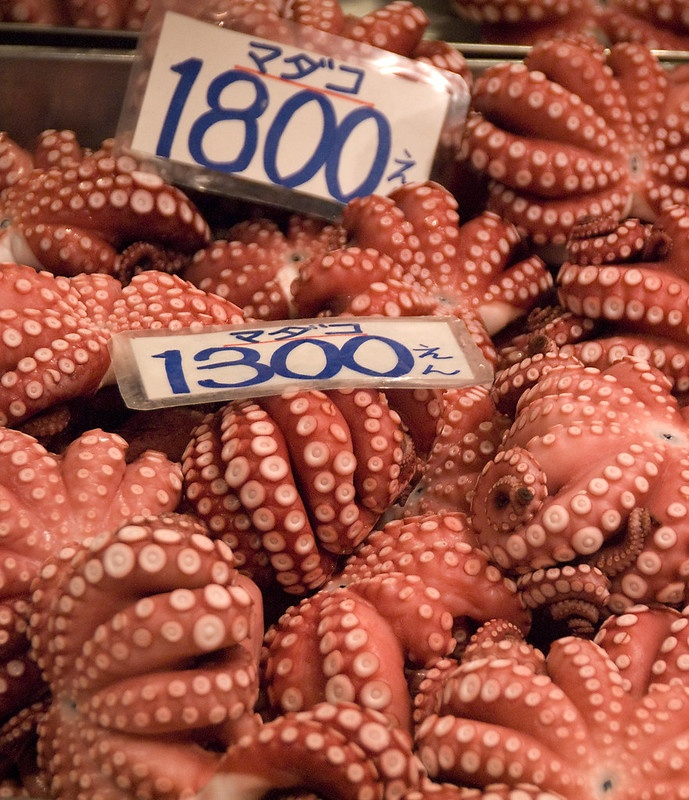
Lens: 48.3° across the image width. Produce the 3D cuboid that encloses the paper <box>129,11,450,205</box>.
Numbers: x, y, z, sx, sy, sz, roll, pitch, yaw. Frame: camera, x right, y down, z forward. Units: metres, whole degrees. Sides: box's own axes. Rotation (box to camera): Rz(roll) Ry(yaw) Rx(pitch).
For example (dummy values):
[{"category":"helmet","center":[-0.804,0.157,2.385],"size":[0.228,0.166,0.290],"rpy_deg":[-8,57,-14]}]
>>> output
[{"category":"paper","center":[-0.120,-0.564,1.496],"size":[0.476,0.283,0.088],"rpy_deg":[10,14,-22]}]
